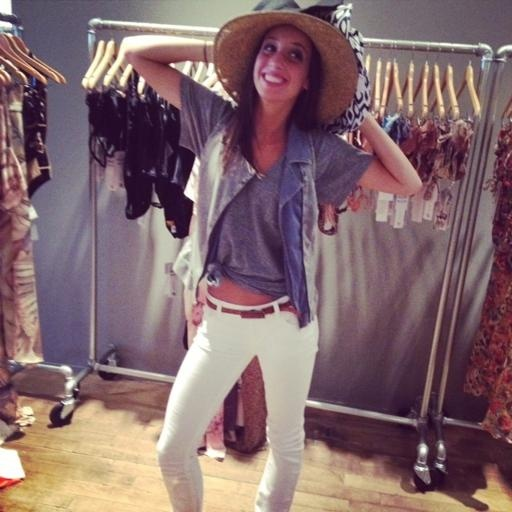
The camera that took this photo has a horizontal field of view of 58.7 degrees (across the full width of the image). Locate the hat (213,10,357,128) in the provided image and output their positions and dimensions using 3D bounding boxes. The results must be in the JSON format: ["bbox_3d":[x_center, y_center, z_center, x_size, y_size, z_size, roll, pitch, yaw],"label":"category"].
[{"bbox_3d":[0.077,-0.547,1.331,0.424,0.242,0.272,7,6,-4],"label":"hat"}]

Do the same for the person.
[{"bbox_3d":[0.000,0.087,1.414,0.859,1.548,0.358,5,5,-12],"label":"person"}]
